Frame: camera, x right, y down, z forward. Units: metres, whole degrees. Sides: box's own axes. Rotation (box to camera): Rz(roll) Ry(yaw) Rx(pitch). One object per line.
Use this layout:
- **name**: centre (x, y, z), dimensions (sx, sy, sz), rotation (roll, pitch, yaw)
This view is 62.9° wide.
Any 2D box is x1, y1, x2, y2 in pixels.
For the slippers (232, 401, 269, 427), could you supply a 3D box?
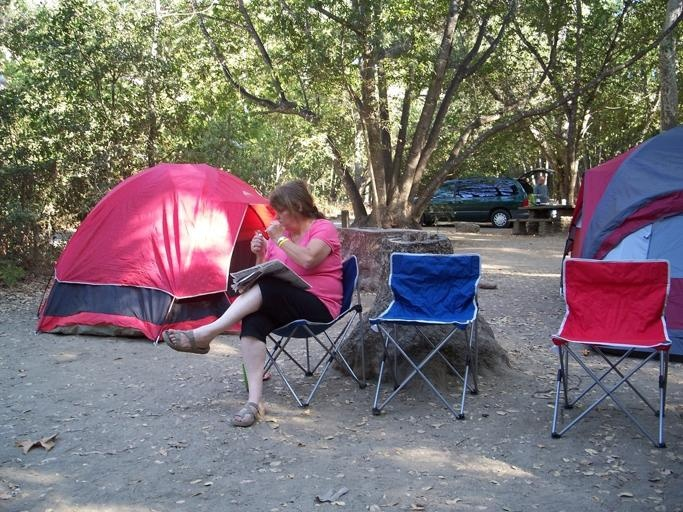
- **slippers**: centre (-0.700, 1.171, 4.159), dimensions (0.114, 0.101, 0.262), rotation (-2, 0, 21)

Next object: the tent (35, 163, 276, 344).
- **tent**: centre (-2.107, 0.004, 6.862), dimensions (2.194, 1.533, 2.322), rotation (1, 8, 12)

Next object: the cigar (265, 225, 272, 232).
- **cigar**: centre (-0.605, -0.222, 4.692), dimensions (0.022, 0.064, 0.047), rotation (29, 5, -40)

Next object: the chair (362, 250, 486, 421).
- **chair**: centre (0.715, 0.617, 4.580), dimensions (0.909, 1.202, 0.906), rotation (1, 5, 33)

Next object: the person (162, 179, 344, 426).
- **person**: centre (-0.560, 0.286, 4.513), dimensions (0.807, 1.752, 1.241), rotation (6, 12, 33)

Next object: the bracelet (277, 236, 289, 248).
- **bracelet**: centre (-0.488, -0.126, 4.613), dimensions (0.085, 0.061, 0.084), rotation (-35, -9, -19)

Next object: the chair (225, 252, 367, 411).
- **chair**: centre (-0.384, 0.697, 5.292), dimensions (1.222, 1.682, 1.197), rotation (6, -9, -41)

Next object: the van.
- **van**: centre (5.108, -2.173, 20.605), dimensions (5.044, 2.106, 2.139), rotation (4, 10, 20)

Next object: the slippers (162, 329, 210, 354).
- **slippers**: centre (-1.204, 0.663, 4.286), dimensions (0.346, 0.135, 0.166), rotation (7, 42, -35)
